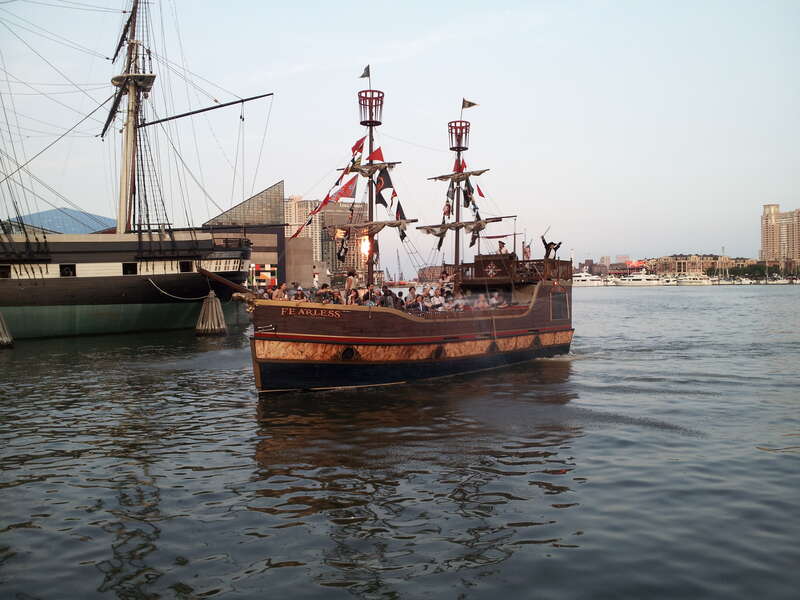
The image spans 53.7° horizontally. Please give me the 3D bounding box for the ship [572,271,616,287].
[{"bbox_3d":[64.951,-6.714,264.348,13.718,4.518,12.057,2,11,12],"label":"ship"}]

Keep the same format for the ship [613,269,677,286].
[{"bbox_3d":[77.988,-6.661,254.477,17.169,6.168,29.513,2,11,11],"label":"ship"}]

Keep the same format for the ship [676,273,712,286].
[{"bbox_3d":[93.088,-6.180,246.194,18.833,3.188,5.003,4,-5,-26],"label":"ship"}]

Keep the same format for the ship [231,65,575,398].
[{"bbox_3d":[0.538,-1.124,29.034,14.831,6.358,5.368,-4,14,-36],"label":"ship"}]
